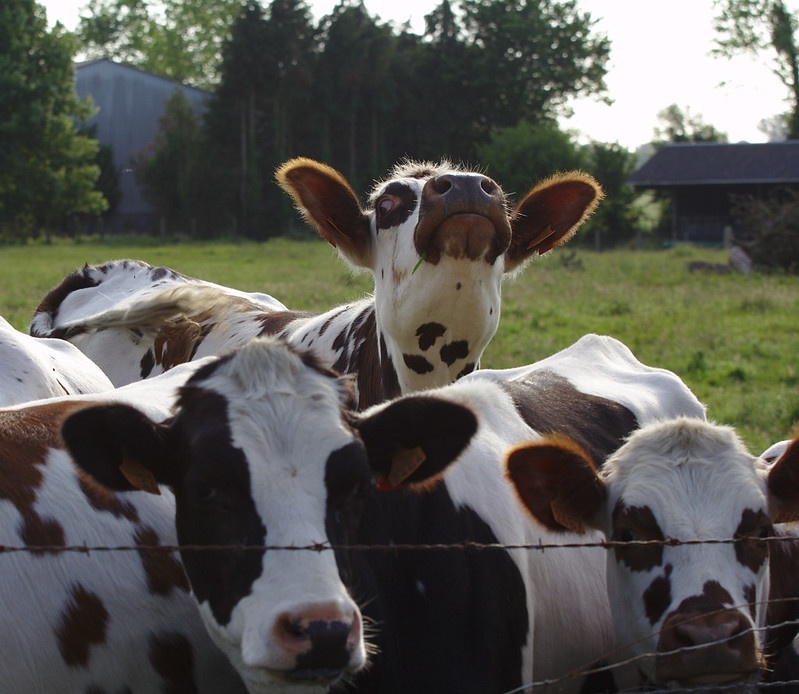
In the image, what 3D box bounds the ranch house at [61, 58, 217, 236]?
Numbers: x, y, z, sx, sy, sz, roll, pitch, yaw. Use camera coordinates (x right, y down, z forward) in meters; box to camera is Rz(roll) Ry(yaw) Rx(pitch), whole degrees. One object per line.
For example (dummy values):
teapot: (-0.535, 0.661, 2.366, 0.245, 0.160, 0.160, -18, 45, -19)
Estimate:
ranch house: (-8.722, -8.240, 61.206, 3.572, 6.439, 6.844, 0, 30, 4)
